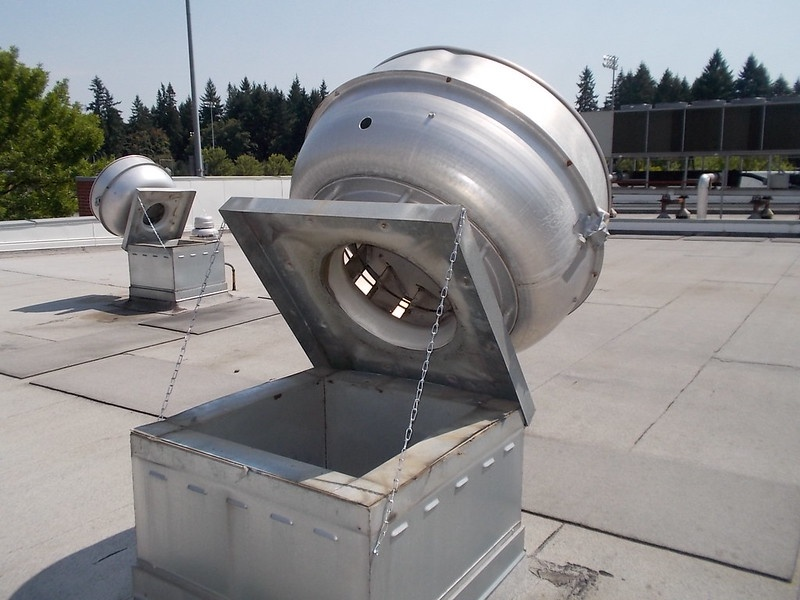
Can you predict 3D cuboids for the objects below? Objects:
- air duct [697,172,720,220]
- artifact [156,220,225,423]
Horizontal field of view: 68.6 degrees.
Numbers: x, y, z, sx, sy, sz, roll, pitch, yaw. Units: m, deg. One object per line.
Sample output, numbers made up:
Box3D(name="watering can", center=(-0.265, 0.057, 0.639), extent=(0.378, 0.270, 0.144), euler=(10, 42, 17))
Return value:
Box3D(name="air duct", center=(14.013, -4.795, 26.992), extent=(0.709, 2.050, 3.118), euler=(6, 14, 26))
Box3D(name="artifact", center=(-2.546, 0.227, 7.159), extent=(0.057, 2.794, 0.114), euler=(13, -24, -1))
